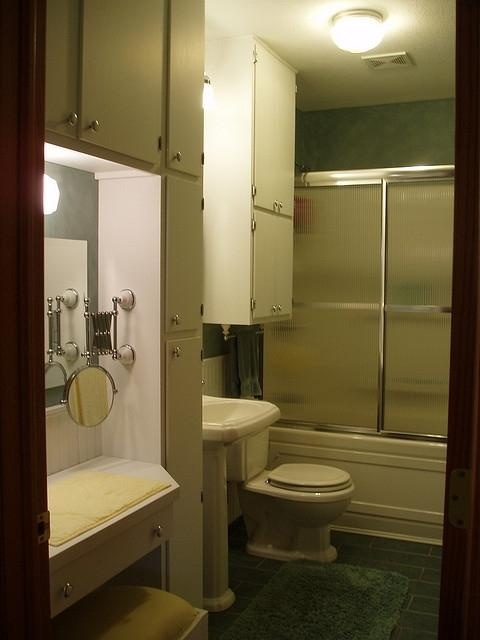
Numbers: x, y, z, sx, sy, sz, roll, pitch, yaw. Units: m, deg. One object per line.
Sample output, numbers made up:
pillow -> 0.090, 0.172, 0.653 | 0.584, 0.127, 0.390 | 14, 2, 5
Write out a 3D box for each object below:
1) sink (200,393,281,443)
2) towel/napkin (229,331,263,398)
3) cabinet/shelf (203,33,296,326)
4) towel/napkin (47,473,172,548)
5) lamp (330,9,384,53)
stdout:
sink -> 0.012, 0.498, 2.577 | 0.390, 0.203, 0.579 | 1, -1, -5
towel/napkin -> 0.025, 0.286, 3.287 | 0.100, 0.683, 0.317 | -1, -4, 29
cabinet/shelf -> 0.070, -0.743, 2.842 | 0.617, 1.465, 0.396 | 0, 0, -21
towel/napkin -> -0.439, 0.491, 1.442 | 0.342, 0.021, 0.499 | 0, -1, 27
lamp -> 0.572, -1.411, 2.506 | 0.270, 0.158, 0.215 | 1, 0, 11
